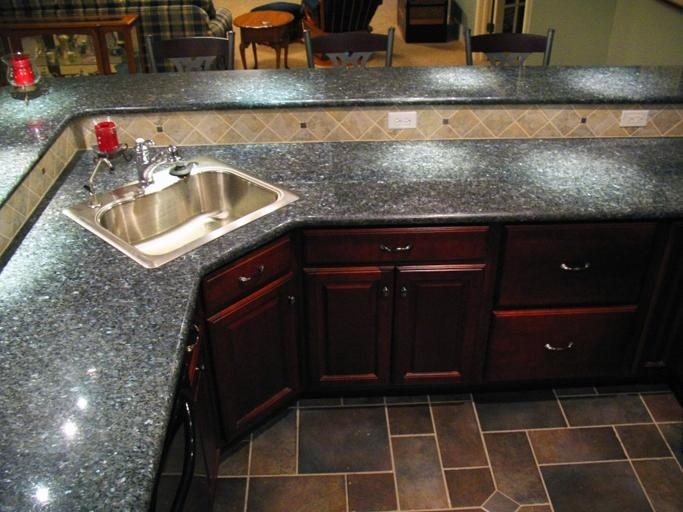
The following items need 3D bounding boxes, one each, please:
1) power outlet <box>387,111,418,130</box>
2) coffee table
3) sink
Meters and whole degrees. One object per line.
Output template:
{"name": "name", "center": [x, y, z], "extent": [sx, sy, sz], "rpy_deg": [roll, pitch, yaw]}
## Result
{"name": "power outlet", "center": [0.279, -0.645, 2.403], "extent": [0.109, 0.062, 0.012], "rpy_deg": [0, 45, 2]}
{"name": "coffee table", "center": [-0.900, -2.492, 5.929], "extent": [0.663, 0.607, 0.667], "rpy_deg": [-3, 28, -7]}
{"name": "sink", "center": [-0.619, -0.176, 2.106], "extent": [0.606, 0.199, 0.678], "rpy_deg": [31, 48, 30]}
